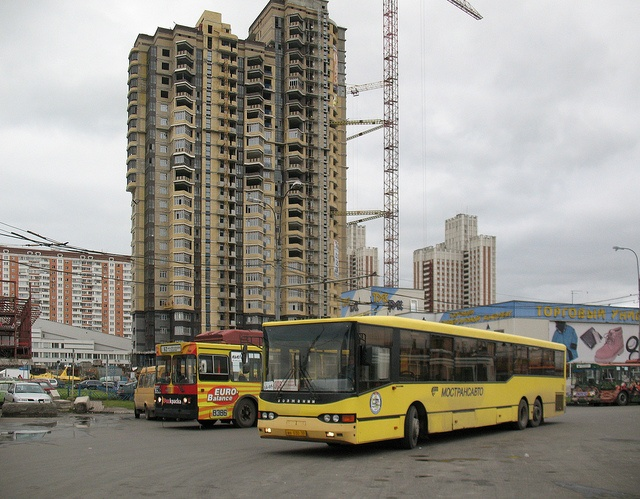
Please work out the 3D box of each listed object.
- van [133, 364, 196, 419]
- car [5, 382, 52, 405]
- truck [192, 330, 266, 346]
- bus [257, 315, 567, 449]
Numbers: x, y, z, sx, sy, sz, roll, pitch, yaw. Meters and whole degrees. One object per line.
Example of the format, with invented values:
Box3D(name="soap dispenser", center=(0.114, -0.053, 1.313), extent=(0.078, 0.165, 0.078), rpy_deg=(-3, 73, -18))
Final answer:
Box3D(name="van", center=(-7.592, 7.009, 46.759), extent=(2.071, 2.583, 4.332), rpy_deg=(2, -2, -21))
Box3D(name="car", center=(-15.159, 7.380, 49.739), extent=(1.364, 1.085, 3.031), rpy_deg=(8, -20, -31))
Box3D(name="truck", center=(-3.642, 3.824, 42.288), extent=(1.677, 0.477, 1.800), rpy_deg=(11, -15, -37))
Box3D(name="bus", center=(3.622, 5.255, 36.449), extent=(4.060, 4.295, 15.301), rpy_deg=(-9, -16, 44))
